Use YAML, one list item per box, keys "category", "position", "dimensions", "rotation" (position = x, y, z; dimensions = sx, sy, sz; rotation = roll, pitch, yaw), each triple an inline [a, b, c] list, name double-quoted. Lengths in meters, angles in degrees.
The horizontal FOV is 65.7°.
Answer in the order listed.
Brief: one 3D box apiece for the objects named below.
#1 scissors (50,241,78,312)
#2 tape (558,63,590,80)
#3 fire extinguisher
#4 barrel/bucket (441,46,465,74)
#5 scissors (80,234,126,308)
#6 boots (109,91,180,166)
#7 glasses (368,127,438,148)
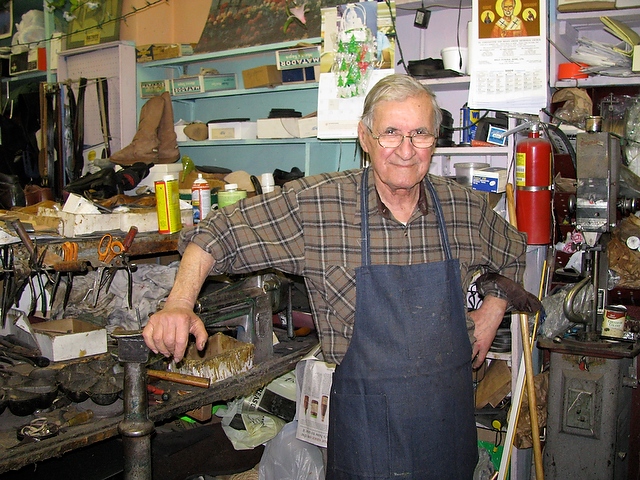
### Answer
- category: "scissors"
  position: [-1.174, 0.143, 2.291]
  dimensions: [0.137, 0.295, 0.237]
  rotation: [-6, 7, -29]
- category: "tape"
  position: [1.489, -1.000, 2.940]
  dimensions: [0.129, 0.073, 0.126]
  rotation: [2, 5, 7]
- category: "fire extinguisher"
  position: [1.128, -0.303, 2.768]
  dimensions: [0.245, 0.851, 0.255]
  rotation: [0, 9, 3]
- category: "barrel/bucket"
  position: [0.755, -1.014, 2.828]
  dimensions: [0.151, 0.117, 0.148]
  rotation: [1, 1, 0]
- category: "scissors"
  position: [-0.996, 0.167, 2.417]
  dimensions: [0.255, 0.388, 0.075]
  rotation: [16, 9, 35]
- category: "boots"
  position: [-1.282, -0.833, 3.851]
  dimensions: [0.728, 0.669, 0.371]
  rotation: [-3, 8, -30]
- category: "glasses"
  position: [0.280, -0.352, 1.702]
  dimensions: [0.231, 0.084, 0.075]
  rotation: [-2, 6, 8]
